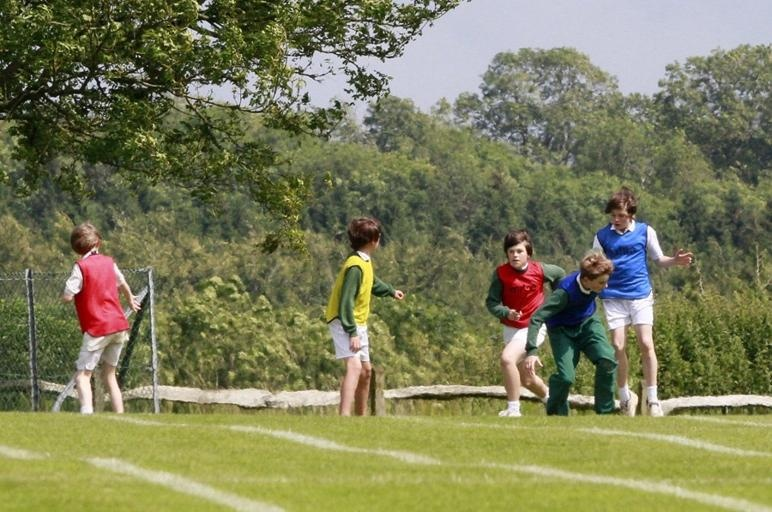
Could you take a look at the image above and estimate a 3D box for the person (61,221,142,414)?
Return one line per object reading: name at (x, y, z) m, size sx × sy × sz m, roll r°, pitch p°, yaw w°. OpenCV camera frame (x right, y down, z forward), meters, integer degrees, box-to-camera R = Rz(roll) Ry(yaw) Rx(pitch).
person at (-6.335, 1.367, 35.575) m, size 1.378 × 3.955 × 1.081 m, roll 1°, pitch 10°, yaw -9°
